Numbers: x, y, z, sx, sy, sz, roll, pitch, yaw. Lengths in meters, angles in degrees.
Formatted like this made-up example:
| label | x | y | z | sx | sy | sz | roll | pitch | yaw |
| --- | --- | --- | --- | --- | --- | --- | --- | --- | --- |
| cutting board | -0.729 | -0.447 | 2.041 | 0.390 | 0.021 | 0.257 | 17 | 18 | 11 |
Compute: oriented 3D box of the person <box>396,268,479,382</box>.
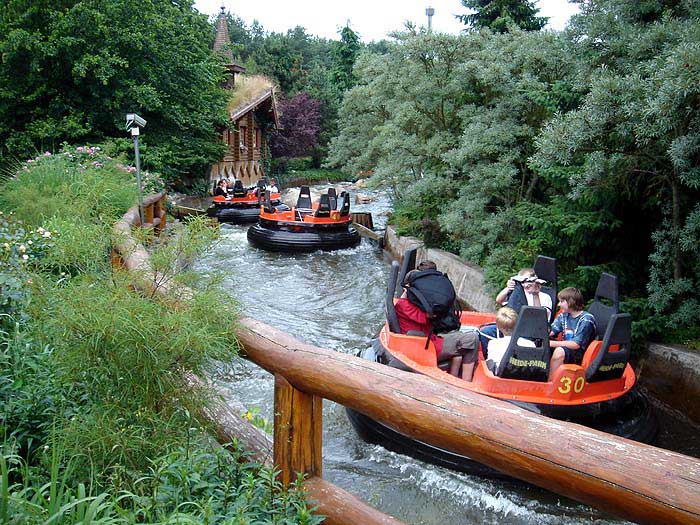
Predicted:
| label | x | y | z | sx | sy | sz | roll | pitch | yaw |
| --- | --- | --- | --- | --- | --- | --- | --- | --- | --- |
| person | 1.180 | 0.793 | 6.361 | 0.910 | 1.588 | 0.939 | -14 | 20 | 4 |

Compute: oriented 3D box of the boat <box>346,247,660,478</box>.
| label | x | y | z | sx | sy | sz | roll | pitch | yaw |
| --- | --- | --- | --- | --- | --- | --- | --- | --- | --- |
| boat | 1.685 | 1.152 | 5.928 | 2.535 | 1.560 | 2.524 | 2 | 9 | -31 |

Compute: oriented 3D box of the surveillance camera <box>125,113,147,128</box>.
| label | x | y | z | sx | sy | sz | roll | pitch | yaw |
| --- | --- | --- | --- | --- | --- | --- | --- | --- | --- |
| surveillance camera | -4.605 | -3.091 | 11.079 | 0.345 | 0.305 | 0.722 | 2 | 8 | -18 |

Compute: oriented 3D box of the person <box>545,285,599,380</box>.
| label | x | y | z | sx | sy | sz | roll | pitch | yaw |
| --- | --- | --- | --- | --- | --- | --- | --- | --- | --- |
| person | 2.398 | 0.807 | 5.810 | 0.719 | 1.061 | 0.530 | -2 | 5 | -15 |
